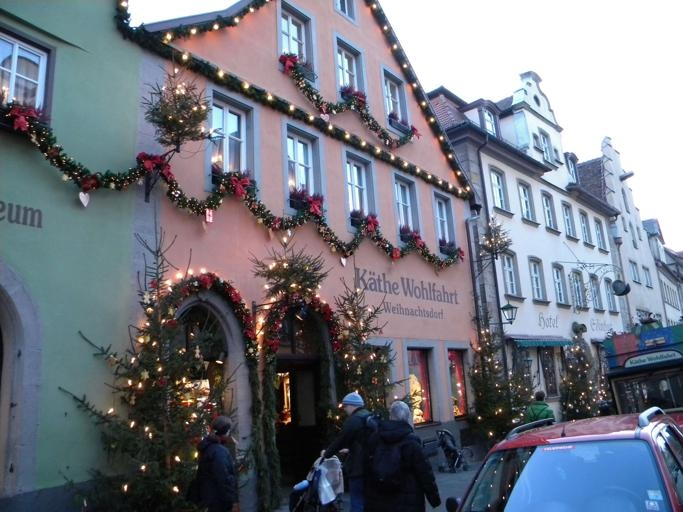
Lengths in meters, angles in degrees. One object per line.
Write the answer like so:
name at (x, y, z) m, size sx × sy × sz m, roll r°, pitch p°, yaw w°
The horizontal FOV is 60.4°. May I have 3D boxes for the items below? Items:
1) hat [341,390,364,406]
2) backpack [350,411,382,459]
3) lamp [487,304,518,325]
hat at (0.185, 2.044, 8.413) m, size 0.330 × 0.282 × 0.254 m, roll 1°, pitch -8°, yaw -14°
backpack at (0.314, 2.407, 7.774) m, size 0.395 × 0.864 × 0.532 m, roll -5°, pitch -12°, yaw 22°
lamp at (4.835, 1.755, 17.620) m, size 0.651 × 0.984 × 0.691 m, roll -1°, pitch -5°, yaw 9°
